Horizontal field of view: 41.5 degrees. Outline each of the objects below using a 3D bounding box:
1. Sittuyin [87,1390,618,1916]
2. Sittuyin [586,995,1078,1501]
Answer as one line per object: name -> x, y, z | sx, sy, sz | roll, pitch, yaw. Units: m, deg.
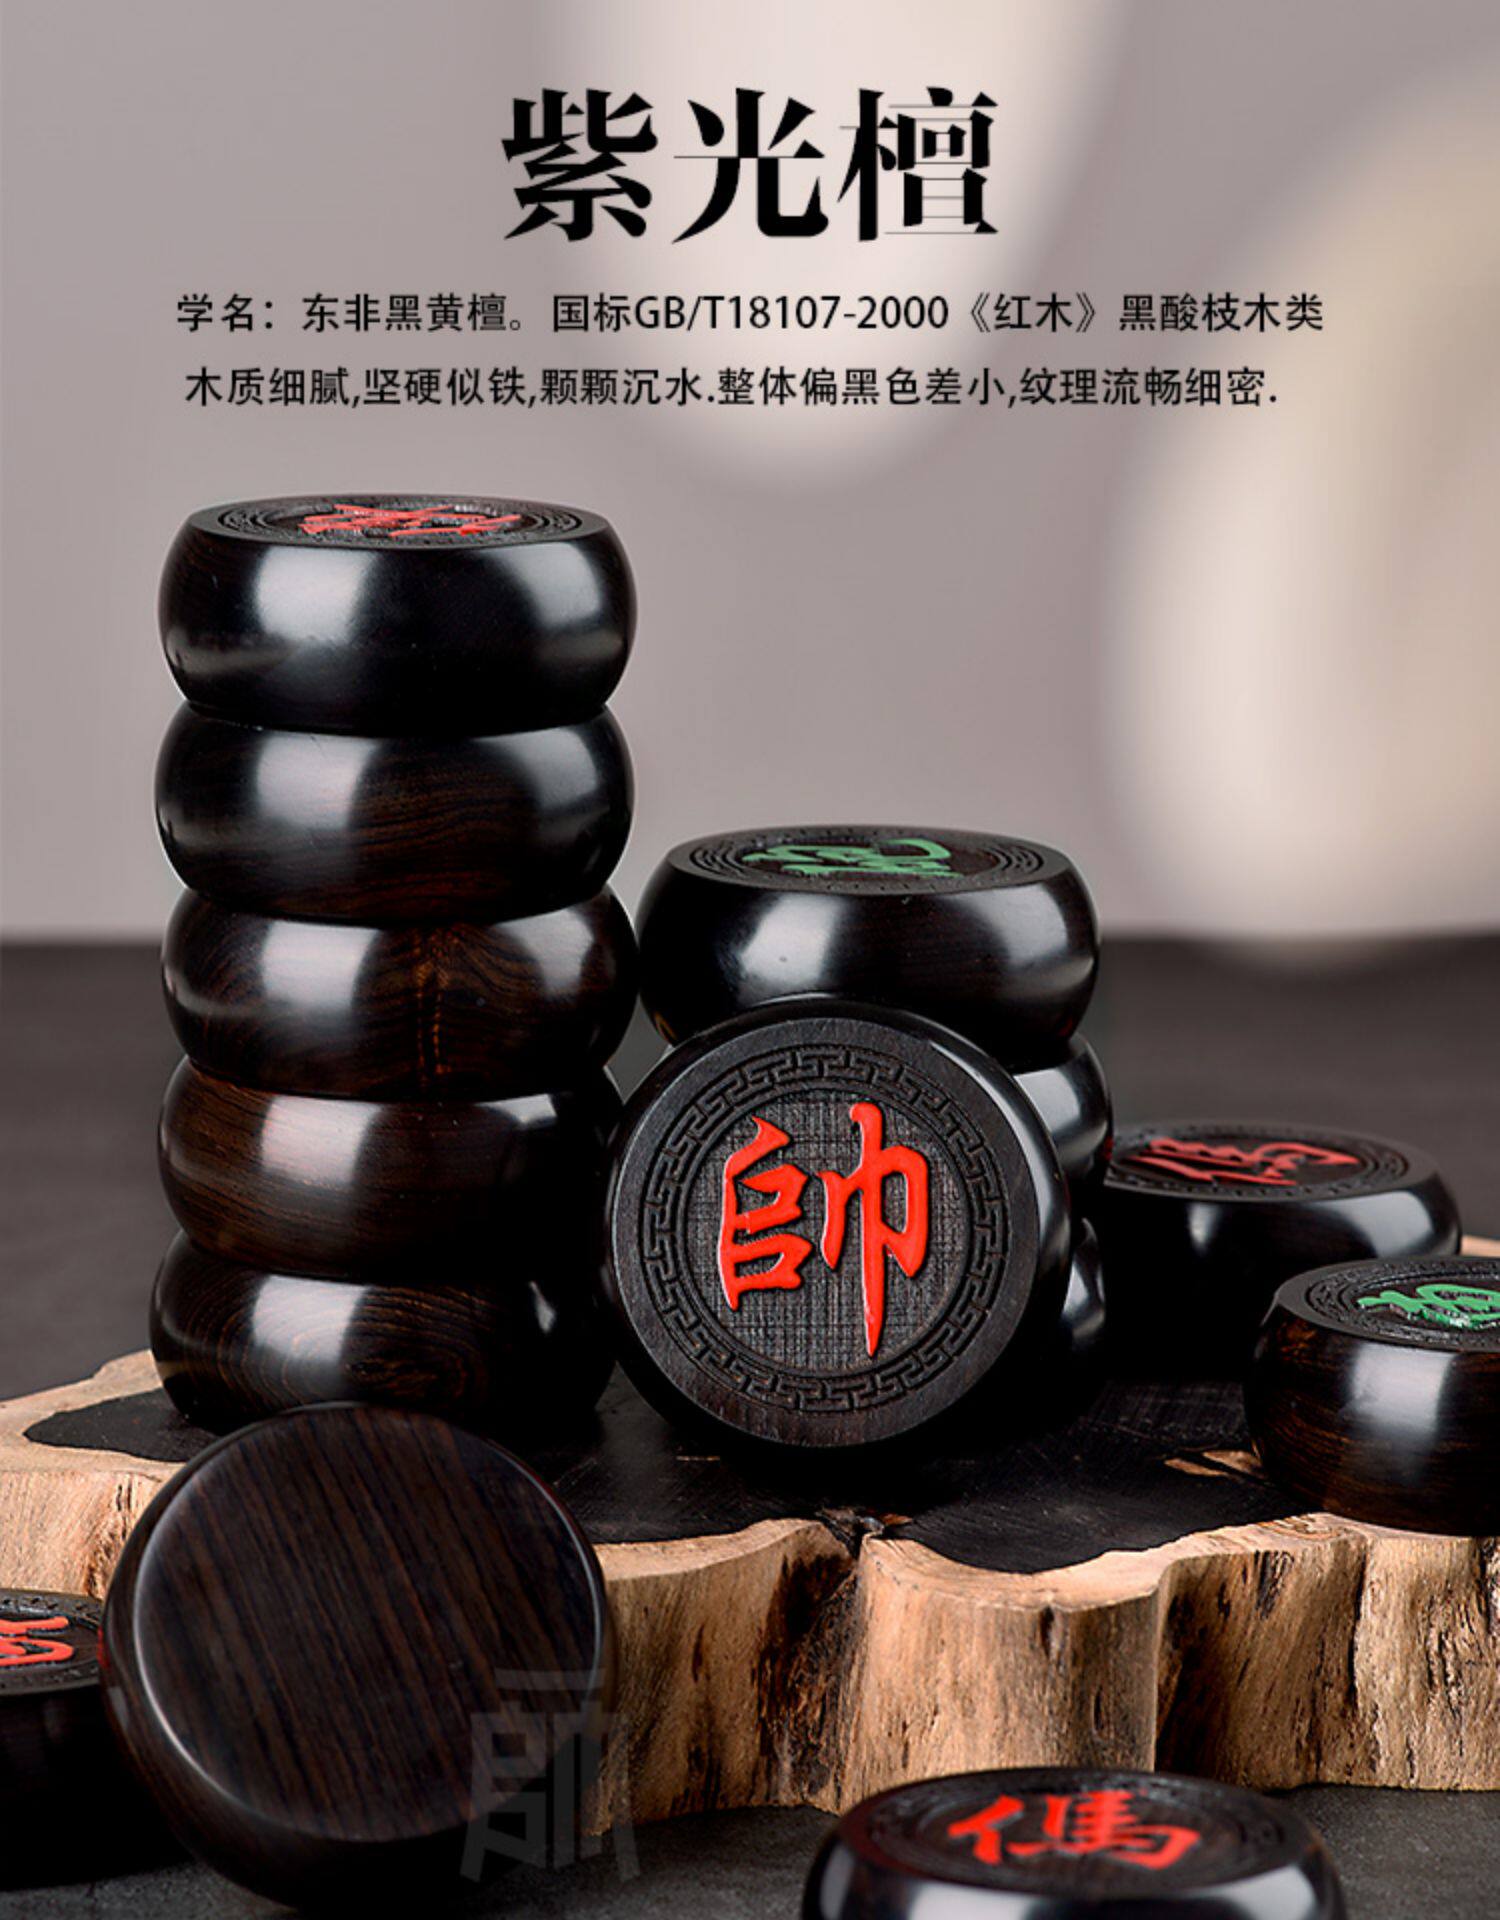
Sittuyin -> -0.223, 0.398, 1.151 | 0.276, 0.144, 0.272 | -6, 34, -14
Sittuyin -> 0.054, 0.199, 1.403 | 0.324, 0.261, 0.251 | 6, 35, 5
